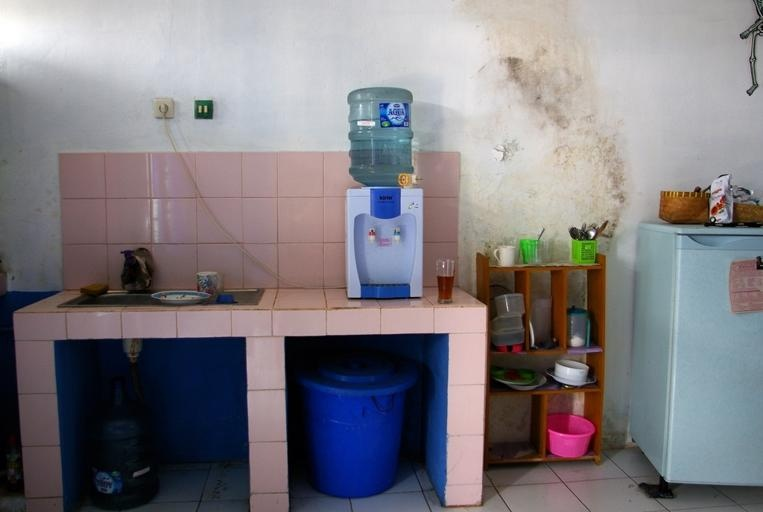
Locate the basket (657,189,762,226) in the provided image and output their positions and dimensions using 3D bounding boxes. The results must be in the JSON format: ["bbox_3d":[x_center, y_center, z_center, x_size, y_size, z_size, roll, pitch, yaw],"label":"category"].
[{"bbox_3d":[1.849,-0.265,3.770,0.413,0.142,0.251,-1,1,8],"label":"basket"}]

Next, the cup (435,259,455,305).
[{"bbox_3d":[0.335,0.126,3.537,0.085,0.225,0.139,-2,10,5],"label":"cup"}]

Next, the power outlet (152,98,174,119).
[{"bbox_3d":[-1.200,-0.816,3.693,0.116,0.110,0.107,-1,5,-7],"label":"power outlet"}]

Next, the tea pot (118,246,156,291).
[{"bbox_3d":[-1.332,0.067,3.613,0.181,0.223,0.096,-1,-3,-11],"label":"tea pot"}]

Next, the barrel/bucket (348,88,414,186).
[{"bbox_3d":[-0.001,-0.675,3.816,0.395,0.531,0.346,-5,8,-31],"label":"barrel/bucket"}]

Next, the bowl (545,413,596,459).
[{"bbox_3d":[1.056,1.064,3.944,0.352,0.167,0.369,-3,1,0],"label":"bowl"}]

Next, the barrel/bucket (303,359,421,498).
[{"bbox_3d":[-0.121,0.955,3.729,0.682,0.578,0.627,2,-2,0],"label":"barrel/bucket"}]

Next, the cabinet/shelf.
[{"bbox_3d":[0.919,0.573,3.895,0.754,1.229,0.372,-1,-10,15],"label":"cabinet/shelf"}]

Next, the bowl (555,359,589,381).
[{"bbox_3d":[1.105,0.658,3.889,0.176,0.100,0.223,2,10,27],"label":"bowl"}]

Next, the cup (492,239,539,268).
[{"bbox_3d":[0.755,-0.010,3.818,0.241,0.155,0.142,-1,2,-7],"label":"cup"}]

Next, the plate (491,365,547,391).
[{"bbox_3d":[0.788,0.694,3.851,0.299,0.106,0.220,1,10,20],"label":"plate"}]

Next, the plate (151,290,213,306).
[{"bbox_3d":[-1.067,0.223,3.513,0.316,0.033,0.190,-2,9,2],"label":"plate"}]
